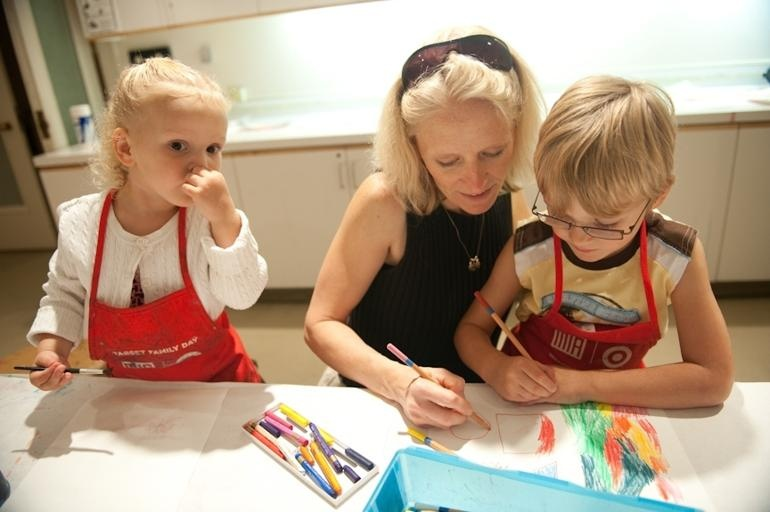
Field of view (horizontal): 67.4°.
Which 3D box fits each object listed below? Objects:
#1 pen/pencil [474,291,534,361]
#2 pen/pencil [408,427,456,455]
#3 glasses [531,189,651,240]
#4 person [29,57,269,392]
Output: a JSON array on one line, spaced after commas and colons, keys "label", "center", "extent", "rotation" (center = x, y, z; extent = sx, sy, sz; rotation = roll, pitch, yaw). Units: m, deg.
[{"label": "pen/pencil", "center": [0.342, 0.198, 1.657], "extent": [0.026, 0.229, 0.026], "rotation": [-40, -9, 15]}, {"label": "pen/pencil", "center": [0.115, 0.450, 1.402], "extent": [0.017, 0.011, 0.084], "rotation": [-32, 45, -33]}, {"label": "glasses", "center": [0.537, -0.101, 1.522], "extent": [0.288, 0.109, 0.151], "rotation": [7, 27, 21]}, {"label": "person", "center": [-0.698, -0.026, 1.659], "extent": [0.667, 0.988, 0.373], "rotation": [-9, 26, -12]}]
